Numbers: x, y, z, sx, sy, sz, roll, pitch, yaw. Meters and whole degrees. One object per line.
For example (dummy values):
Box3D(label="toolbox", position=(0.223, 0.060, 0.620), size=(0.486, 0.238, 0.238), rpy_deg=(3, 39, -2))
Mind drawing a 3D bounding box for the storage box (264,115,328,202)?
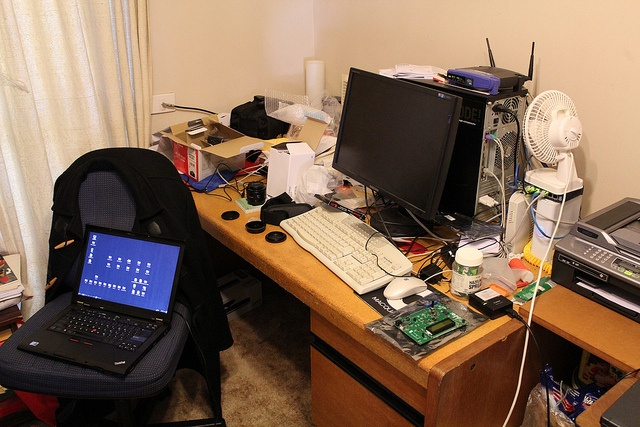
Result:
Box3D(label="storage box", position=(-0.116, -0.274, 2.435), size=(0.243, 0.528, 0.253), rpy_deg=(-5, 36, -38))

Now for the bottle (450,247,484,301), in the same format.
Box3D(label="bottle", position=(0.565, 0.223, 1.805), size=(0.115, 0.183, 0.091), rpy_deg=(8, 29, 14))

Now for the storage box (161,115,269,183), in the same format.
Box3D(label="storage box", position=(-0.613, -0.385, 2.653), size=(0.525, 0.204, 0.418), rpy_deg=(33, 44, 33))

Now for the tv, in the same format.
Box3D(label="tv", position=(0.351, -0.257, 2.064), size=(0.109, 0.711, 0.912), rpy_deg=(-9, 24, -21))

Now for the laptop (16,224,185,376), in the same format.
Box3D(label="laptop", position=(-0.909, 0.341, 1.978), size=(0.559, 0.389, 0.433), rpy_deg=(6, 29, 12))

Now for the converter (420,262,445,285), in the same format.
Box3D(label="converter", position=(0.448, 0.241, 1.892), size=(0.087, 0.030, 0.064), rpy_deg=(30, 48, 35))

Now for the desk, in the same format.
Box3D(label="desk", position=(0.140, 0.608, 2.004), size=(0.694, 0.885, 1.750), rpy_deg=(-19, 43, -33))

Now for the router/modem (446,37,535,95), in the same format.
Box3D(label="router/modem", position=(0.757, -0.645, 2.102), size=(0.312, 0.142, 0.452), rpy_deg=(20, 34, 34))

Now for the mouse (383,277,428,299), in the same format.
Box3D(label="mouse", position=(0.316, 0.259, 1.803), size=(0.137, 0.043, 0.077), rpy_deg=(-20, 33, -28))

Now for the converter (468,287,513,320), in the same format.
Box3D(label="converter", position=(0.647, 0.338, 1.780), size=(0.117, 0.048, 0.147), rpy_deg=(-17, 26, -30))

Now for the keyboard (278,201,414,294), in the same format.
Box3D(label="keyboard", position=(0.131, 0.142, 1.986), size=(0.288, 0.062, 0.579), rpy_deg=(-14, 32, -35))
